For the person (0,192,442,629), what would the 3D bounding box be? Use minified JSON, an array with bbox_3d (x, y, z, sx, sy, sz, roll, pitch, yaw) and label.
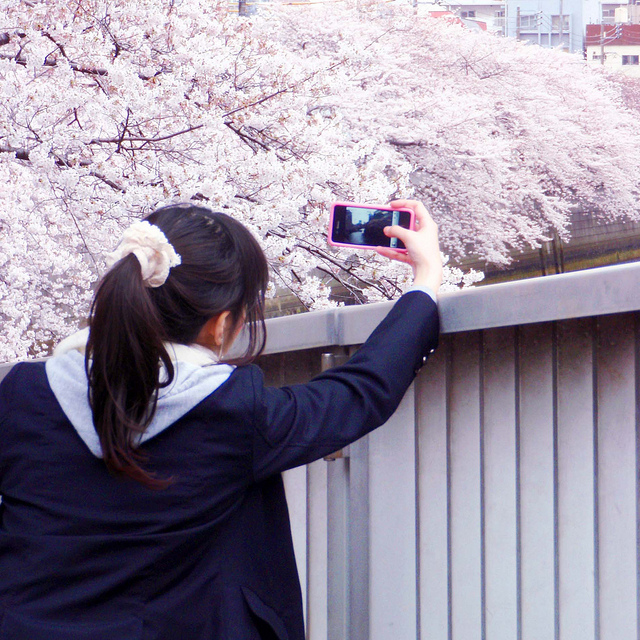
[{"bbox_3d":[-0.267,0.256,3.014,1.049,1.019,0.469,2,17,0],"label":"person"}]
